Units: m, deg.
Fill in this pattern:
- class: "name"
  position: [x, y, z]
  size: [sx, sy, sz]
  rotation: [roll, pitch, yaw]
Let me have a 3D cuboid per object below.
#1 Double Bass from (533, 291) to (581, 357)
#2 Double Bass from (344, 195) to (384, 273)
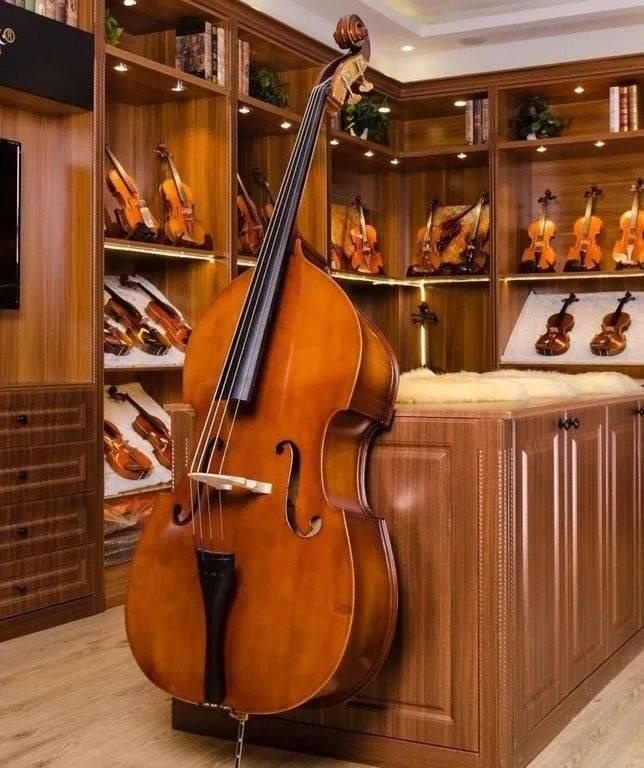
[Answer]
- class: "Double Bass"
  position: [1.617, -0.413, 5.187]
  size: [0.199, 0.122, 0.584]
  rotation: [-5, 38, 27]
- class: "Double Bass"
  position: [0.292, -0.981, 5.293]
  size: [0.257, 0.605, 0.197]
  rotation: [-3, -3, -7]
